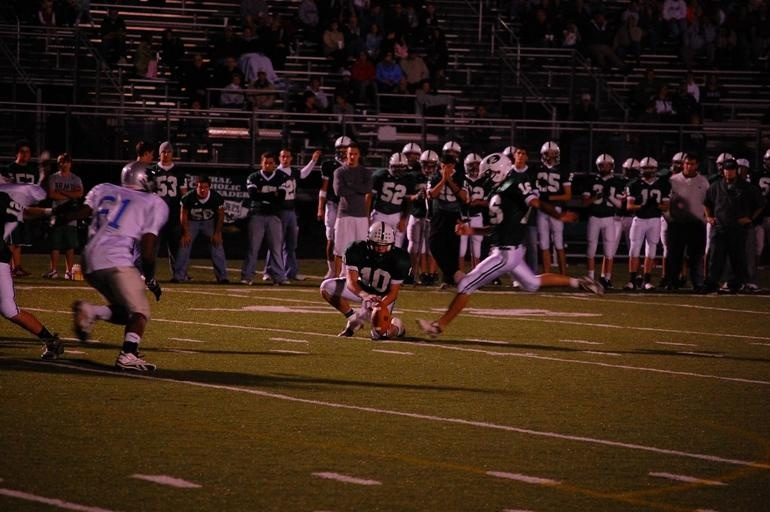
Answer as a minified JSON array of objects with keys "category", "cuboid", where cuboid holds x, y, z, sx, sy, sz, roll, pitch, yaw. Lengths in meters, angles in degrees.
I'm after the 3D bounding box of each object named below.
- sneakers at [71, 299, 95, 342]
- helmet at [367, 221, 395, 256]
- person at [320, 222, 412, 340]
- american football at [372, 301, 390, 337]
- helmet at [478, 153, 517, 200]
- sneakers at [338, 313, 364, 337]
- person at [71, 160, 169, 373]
[{"category":"sneakers","cuboid":[-3.336,0.703,10.489,0.200,0.498,0.245,-2,0,2]},{"category":"helmet","cuboid":[-0.031,-0.246,12.204,0.344,0.320,0.416,6,5,-7]},{"category":"person","cuboid":[-0.181,0.322,12.490,0.696,1.618,0.981,-5,12,-44]},{"category":"american football","cuboid":[-0.042,0.818,12.335,0.347,0.377,0.296,-6,2,11]},{"category":"helmet","cuboid":[1.436,-1.200,13.154,0.654,0.519,0.456,-12,14,-23]},{"category":"sneakers","cuboid":[-0.450,0.950,12.880,0.221,0.310,0.107,41,25,-17]},{"category":"person","cuboid":[-2.833,0.112,10.459,0.988,2.255,0.663,9,10,35]}]
